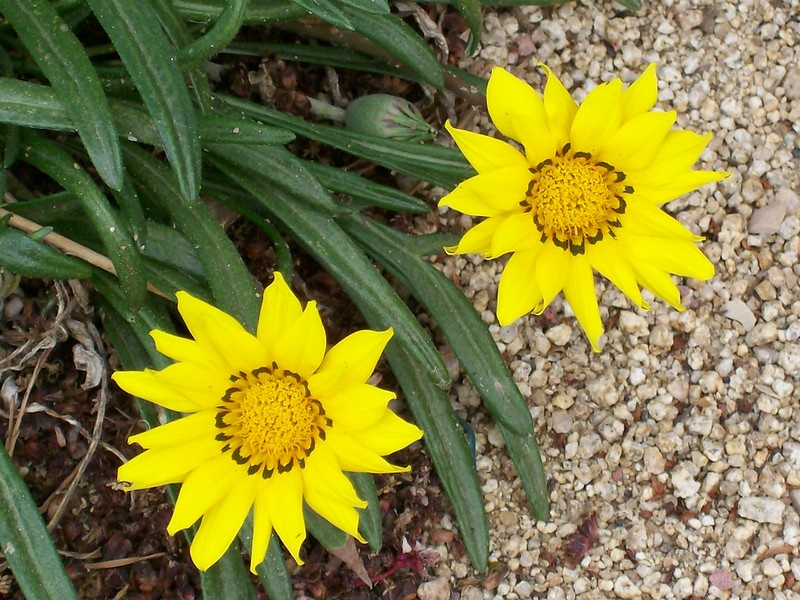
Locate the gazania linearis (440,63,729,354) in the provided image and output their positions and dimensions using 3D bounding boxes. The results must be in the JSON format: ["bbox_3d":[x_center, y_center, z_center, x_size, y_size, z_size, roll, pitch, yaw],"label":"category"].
[{"bbox_3d":[0.544,-0.398,2.302,0.664,0.706,0.257,42,80,-12],"label":"gazania linearis"}]

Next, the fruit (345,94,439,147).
[{"bbox_3d":[-0.057,-0.629,2.755,0.360,0.129,0.184,-11,60,-29],"label":"fruit"}]
